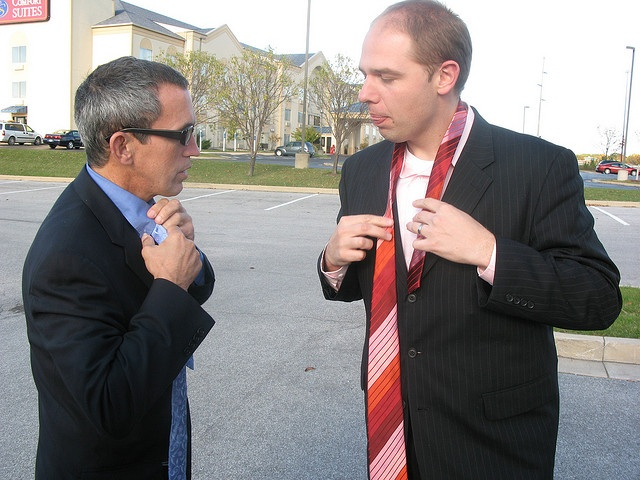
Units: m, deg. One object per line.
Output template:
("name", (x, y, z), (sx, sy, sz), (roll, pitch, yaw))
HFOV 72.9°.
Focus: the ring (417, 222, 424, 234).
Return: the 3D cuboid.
("ring", (0.395, -0.046, 1.715), (0.011, 0.034, 0.027), (11, 7, -3))
